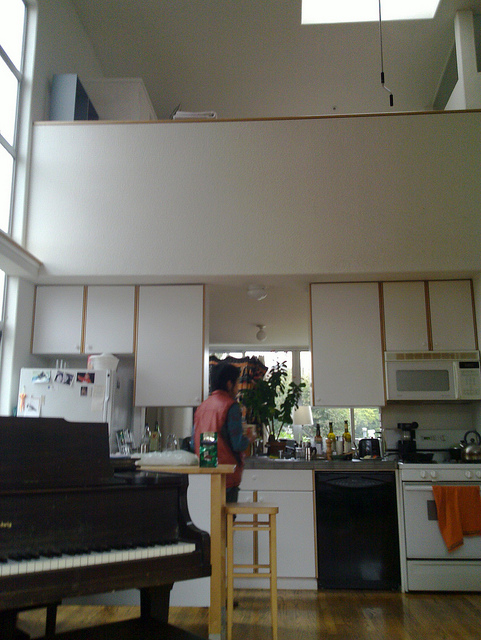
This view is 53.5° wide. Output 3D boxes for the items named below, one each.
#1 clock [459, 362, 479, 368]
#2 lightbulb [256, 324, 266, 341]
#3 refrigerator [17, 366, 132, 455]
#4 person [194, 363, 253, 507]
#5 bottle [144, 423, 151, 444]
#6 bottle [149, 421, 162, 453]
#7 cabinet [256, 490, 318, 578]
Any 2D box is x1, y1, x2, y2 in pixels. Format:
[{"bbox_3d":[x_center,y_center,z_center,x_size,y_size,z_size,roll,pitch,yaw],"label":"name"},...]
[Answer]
[{"bbox_3d":[1.814,0.358,3.795,0.149,0.041,0.027,0,-13,0],"label":"clock"},{"bbox_3d":[0.251,0.168,6.227,0.162,0.275,0.168,2,-2,-27],"label":"lightbulb"},{"bbox_3d":[-1.295,0.687,3.708,0.865,0.666,0.535,5,-14,-19],"label":"refrigerator"},{"bbox_3d":[-0.090,0.896,2.976,0.318,1.216,0.343,-12,-19,38],"label":"person"},{"bbox_3d":[-0.826,1.009,4.236,0.056,0.183,0.253,3,-14,-11],"label":"bottle"},{"bbox_3d":[-0.772,1.052,4.322,0.109,0.259,0.310,3,-14,-9],"label":"bottle"},{"bbox_3d":[0.325,1.548,3.674,0.398,0.747,0.487,5,-7,-1],"label":"cabinet"}]
